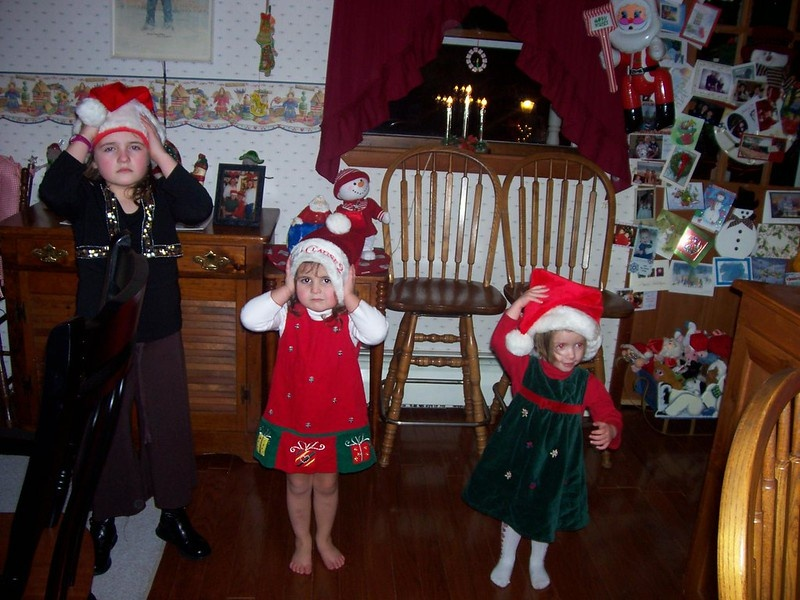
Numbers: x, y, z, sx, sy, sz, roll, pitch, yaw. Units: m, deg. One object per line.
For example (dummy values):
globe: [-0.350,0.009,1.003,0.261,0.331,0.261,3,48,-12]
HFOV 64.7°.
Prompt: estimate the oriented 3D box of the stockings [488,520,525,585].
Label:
stockings: [0.367,0.854,2.153,0.073,0.109,0.257,6,49,10]

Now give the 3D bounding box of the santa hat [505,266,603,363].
santa hat: [0.481,0.070,2.014,0.308,0.218,0.235,-30,35,-15]

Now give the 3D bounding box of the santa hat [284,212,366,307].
santa hat: [-0.228,-0.178,2.135,0.209,0.141,0.355,12,46,-3]

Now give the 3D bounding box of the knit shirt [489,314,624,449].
knit shirt: [0.591,0.164,2.283,0.413,0.707,0.457,1,7,28]

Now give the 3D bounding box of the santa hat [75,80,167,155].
santa hat: [-0.935,-0.609,2.003,0.190,0.135,0.258,-9,11,9]

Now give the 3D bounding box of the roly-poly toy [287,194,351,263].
roly-poly toy: [-0.357,-0.291,2.580,0.198,0.278,0.199,29,23,37]

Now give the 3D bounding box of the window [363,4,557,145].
window: [0.249,-1.018,2.803,0.584,0.629,0.045,1,-3,-6]

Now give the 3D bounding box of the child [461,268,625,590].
child: [0.466,0.447,2.061,0.455,1.030,0.412,10,7,16]
